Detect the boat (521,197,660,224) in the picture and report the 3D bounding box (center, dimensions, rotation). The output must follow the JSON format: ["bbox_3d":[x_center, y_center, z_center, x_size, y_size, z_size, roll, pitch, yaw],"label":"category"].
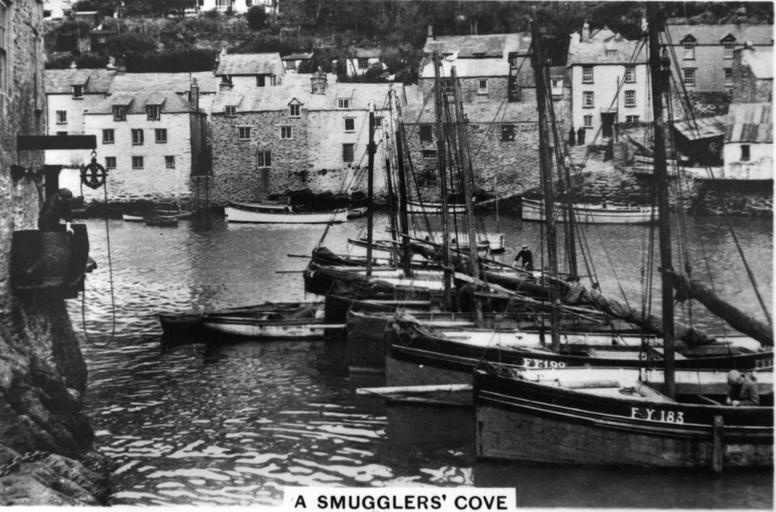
[{"bbox_3d":[3.563,-0.790,26.036,2.279,0.398,0.533,2,3,-5],"label":"boat"}]

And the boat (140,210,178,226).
[{"bbox_3d":[-4.051,-0.663,27.090,0.517,0.200,0.155,-1,-19,-46],"label":"boat"}]

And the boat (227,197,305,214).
[{"bbox_3d":[-2.217,-0.884,27.830,1.633,0.315,0.367,2,2,-27],"label":"boat"}]

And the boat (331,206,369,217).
[{"bbox_3d":[-0.705,-0.836,28.696,0.910,0.178,0.168,-3,-8,-28],"label":"boat"}]

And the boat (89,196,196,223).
[{"bbox_3d":[-4.211,-0.803,27.020,0.384,0.487,1.661,4,8,42],"label":"boat"}]

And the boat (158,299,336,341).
[{"bbox_3d":[-2.486,1.290,27.058,3.137,0.473,1.025,0,8,-9],"label":"boat"}]
